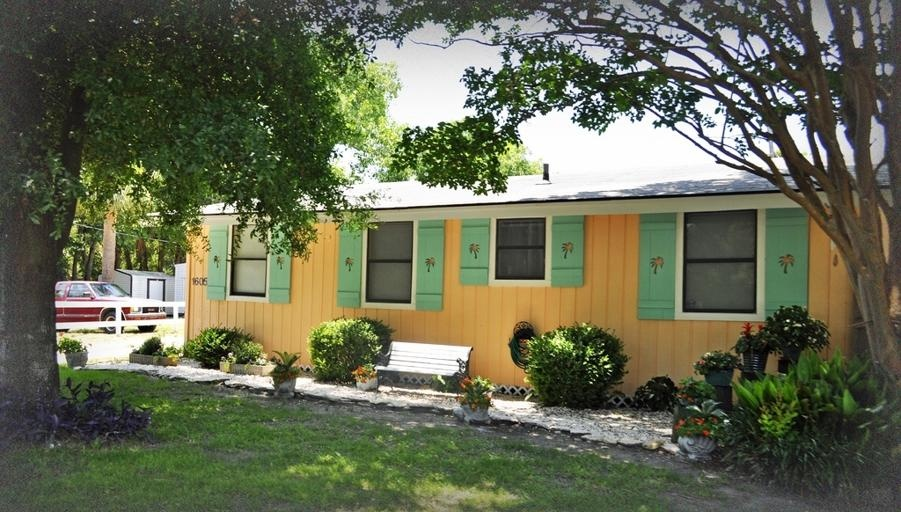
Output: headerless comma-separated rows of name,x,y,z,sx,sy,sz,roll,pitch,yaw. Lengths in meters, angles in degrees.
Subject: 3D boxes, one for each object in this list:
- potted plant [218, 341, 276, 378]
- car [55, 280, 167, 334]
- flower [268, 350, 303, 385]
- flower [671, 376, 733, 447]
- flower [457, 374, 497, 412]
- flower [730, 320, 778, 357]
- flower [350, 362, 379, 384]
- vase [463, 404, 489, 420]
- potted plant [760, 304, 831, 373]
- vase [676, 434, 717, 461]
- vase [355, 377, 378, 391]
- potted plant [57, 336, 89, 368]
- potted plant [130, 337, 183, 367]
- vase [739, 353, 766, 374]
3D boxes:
potted plant,-5.149,2.580,16.427,1.541,0.702,0.743,3,9,12
car,-12.699,2.001,24.246,3.187,2.109,2.001,-3,10,-26
flower,-3.715,2.513,14.725,0.576,0.681,0.640,-1,9,-15
flower,4.520,2.815,11.968,1.139,1.245,1.084,0,-9,21
flower,0.595,2.769,13.155,0.728,0.724,0.664,5,-16,-14
flower,5.920,1.619,12.797,0.715,0.477,0.721,2,-4,-45
flower,-1.963,2.691,15.054,0.479,0.318,0.467,2,-2,-11
vase,0.502,3.094,12.899,0.530,0.316,0.211,2,9,3
potted plant,6.803,1.699,12.971,1.385,1.347,1.456,-1,-6,27
vase,4.313,3.331,11.464,0.594,0.399,0.283,3,9,14
vase,-1.913,2.942,15.006,0.408,0.190,0.295,5,-10,-32
potted plant,-9.573,2.480,16.900,0.699,0.854,0.871,-4,-4,6
potted plant,-7.785,2.612,17.240,0.911,0.528,0.886,3,-2,-12
vase,5.956,2.094,12.915,0.496,0.352,0.450,0,-6,17
